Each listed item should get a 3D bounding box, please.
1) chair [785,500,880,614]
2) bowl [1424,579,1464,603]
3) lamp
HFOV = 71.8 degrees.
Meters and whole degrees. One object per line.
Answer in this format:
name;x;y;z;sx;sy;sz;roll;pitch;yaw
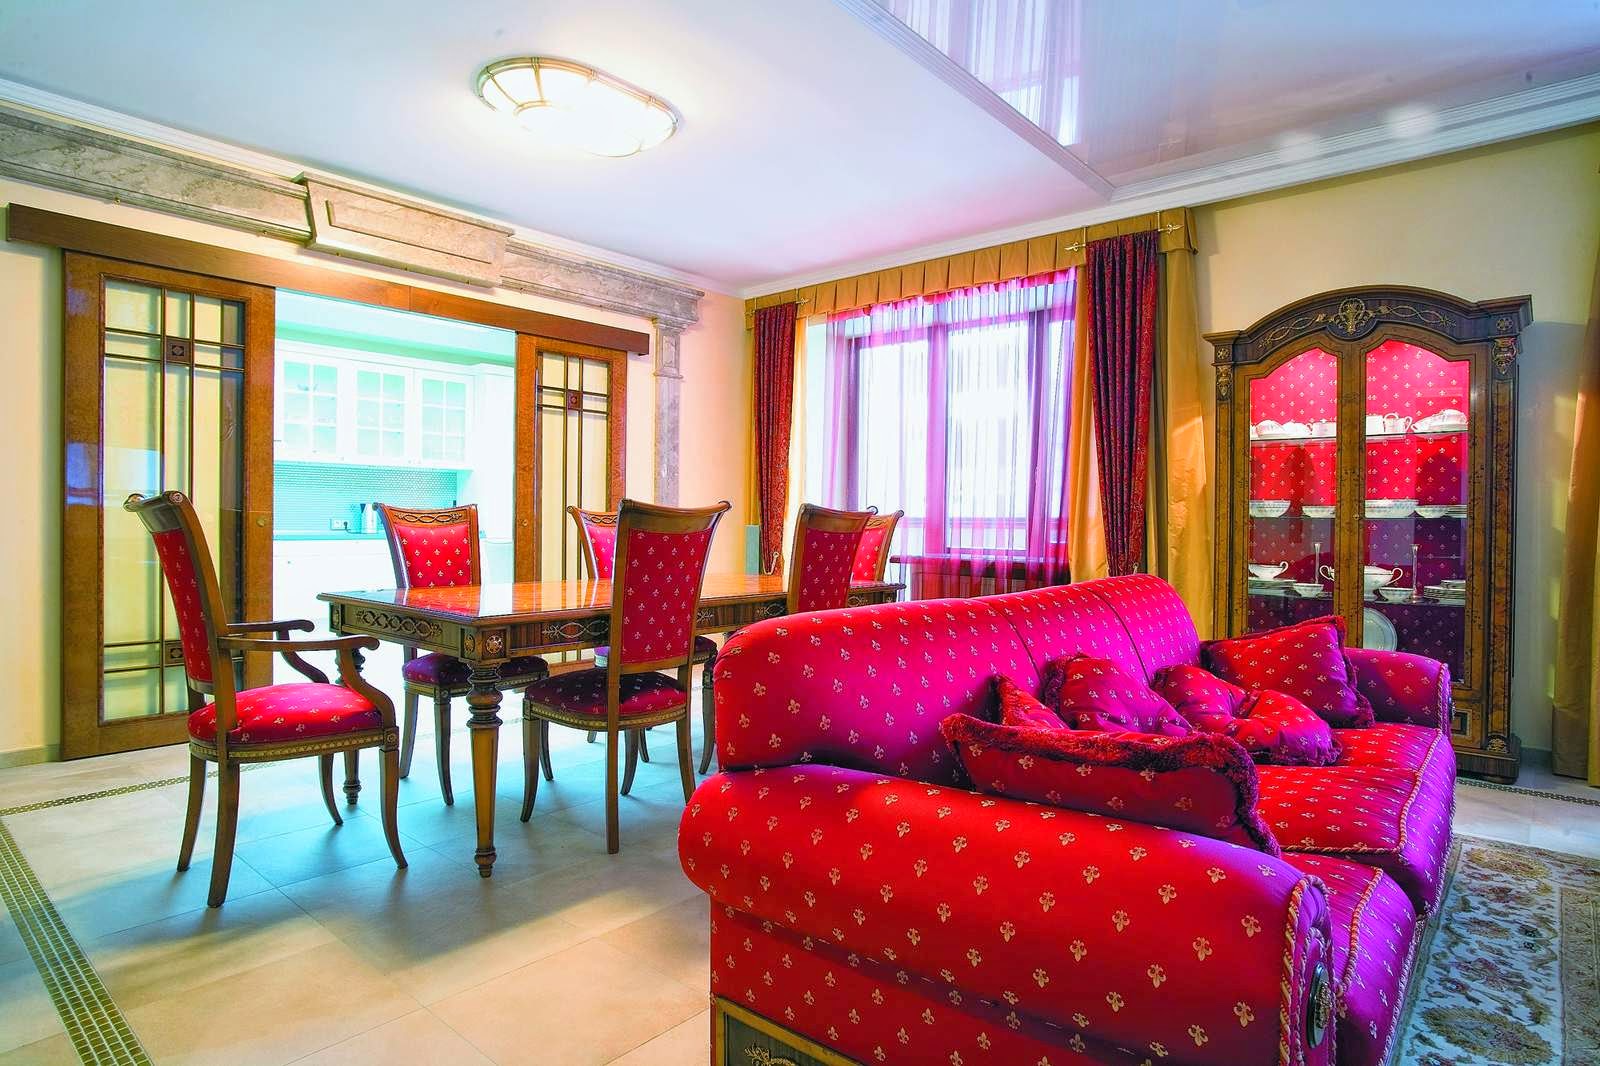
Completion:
chair;0.122;0.145;5.355;0.508;0.667;0.415;6;6;43
bowl;3.243;0.290;5.503;0.116;0.079;0.124;-3;1;0
lamp;-1.095;-2.113;5.488;1.007;0.438;0.502;-2;0;-18
